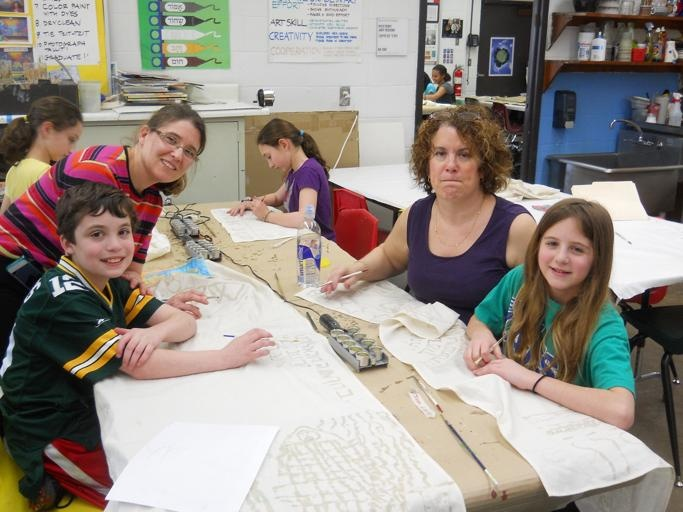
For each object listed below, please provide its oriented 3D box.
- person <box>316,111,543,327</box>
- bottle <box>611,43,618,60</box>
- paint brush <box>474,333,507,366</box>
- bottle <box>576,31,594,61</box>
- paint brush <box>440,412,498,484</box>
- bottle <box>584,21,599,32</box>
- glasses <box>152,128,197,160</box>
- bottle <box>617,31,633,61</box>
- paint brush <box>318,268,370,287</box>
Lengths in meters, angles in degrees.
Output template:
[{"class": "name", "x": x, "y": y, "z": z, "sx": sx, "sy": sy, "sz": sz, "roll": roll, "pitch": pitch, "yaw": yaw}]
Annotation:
[{"class": "person", "x": 0.403, "y": -0.026, "z": 2.044, "sx": 0.845, "sy": 1.120, "sz": 0.564, "roll": 11, "pitch": 23, "yaw": 40}, {"class": "bottle", "x": 3.154, "y": -2.366, "z": 5.721, "sx": 0.031, "sy": 0.171, "sz": 0.085, "roll": -5, "pitch": 17, "yaw": -20}, {"class": "paint brush", "x": 0.462, "y": 0.292, "z": 1.547, "sx": 0.028, "sy": 0.037, "sz": 0.103, "roll": 27, "pitch": 44, "yaw": 26}, {"class": "bottle", "x": 2.753, "y": -2.381, "z": 5.588, "sx": 0.176, "sy": 0.326, "sz": 0.311, "roll": 7, "pitch": 17, "yaw": 21}, {"class": "paint brush", "x": 0.305, "y": 0.452, "z": 1.173, "sx": 0.025, "sy": 0.032, "sz": 0.180, "roll": -30, "pitch": 30, "yaw": -2}, {"class": "bottle", "x": 2.832, "y": -2.623, "z": 5.653, "sx": 0.181, "sy": 0.063, "sz": 0.109, "roll": -3, "pitch": 21, "yaw": -6}, {"class": "glasses", "x": -0.613, "y": -0.417, "z": 1.836, "sx": 0.100, "sy": 0.030, "sz": 0.101, "roll": 28, "pitch": -2, "yaw": 44}, {"class": "bottle", "x": 3.239, "y": -2.394, "z": 5.643, "sx": 0.150, "sy": 0.346, "sz": 0.282, "roll": 9, "pitch": 18, "yaw": 26}, {"class": "paint brush", "x": 0.017, "y": 0.087, "z": 2.014, "sx": 0.201, "sy": 0.022, "sz": 0.022, "roll": -19, "pitch": 24, "yaw": -38}]
